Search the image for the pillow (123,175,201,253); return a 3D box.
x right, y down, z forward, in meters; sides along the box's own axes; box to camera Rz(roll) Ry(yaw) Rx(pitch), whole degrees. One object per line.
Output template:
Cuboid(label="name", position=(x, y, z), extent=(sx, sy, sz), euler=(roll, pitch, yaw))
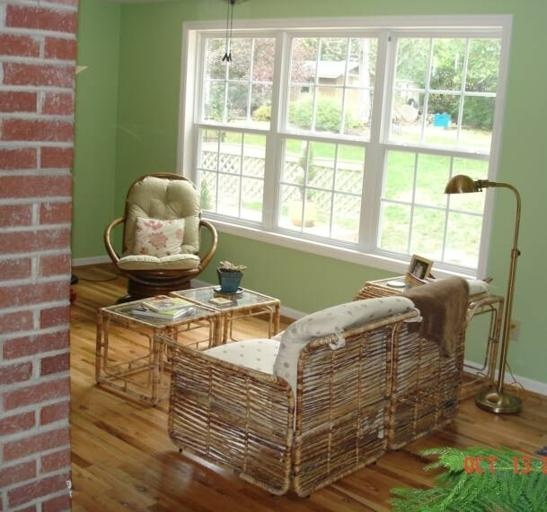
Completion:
Cuboid(label="pillow", position=(-1.017, -0.372, 4.877), extent=(0.828, 0.640, 0.250), euler=(1, -5, -6))

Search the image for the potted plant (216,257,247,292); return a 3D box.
Cuboid(label="potted plant", position=(-0.307, 0.140, 3.653), extent=(0.170, 0.216, 0.196), euler=(5, 14, 0))

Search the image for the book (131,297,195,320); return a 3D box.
Cuboid(label="book", position=(-0.648, 0.321, 3.164), extent=(0.190, 0.031, 0.191), euler=(8, 11, 36))

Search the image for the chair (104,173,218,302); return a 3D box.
Cuboid(label="chair", position=(-1.002, -0.238, 4.803), extent=(1.403, 1.170, 1.151), euler=(1, 5, -4))

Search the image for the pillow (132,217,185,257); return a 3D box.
Cuboid(label="pillow", position=(-1.005, -0.150, 4.610), extent=(0.519, 0.369, 0.168), euler=(7, 10, 19))

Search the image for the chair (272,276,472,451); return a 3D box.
Cuboid(label="chair", position=(0.416, 0.554, 2.800), extent=(0.820, 0.783, 1.026), euler=(8, 11, 40))

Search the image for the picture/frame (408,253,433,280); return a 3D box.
Cuboid(label="picture/frame", position=(0.992, 0.076, 3.471), extent=(0.021, 0.184, 0.199), euler=(31, -11, -37))

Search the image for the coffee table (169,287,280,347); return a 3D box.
Cuboid(label="coffee table", position=(-0.363, 0.469, 3.664), extent=(0.632, 0.361, 0.612), euler=(-10, 16, -40))

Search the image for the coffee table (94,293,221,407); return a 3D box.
Cuboid(label="coffee table", position=(-0.700, 0.553, 3.251), extent=(0.614, 0.362, 0.532), euler=(-16, -17, 7))

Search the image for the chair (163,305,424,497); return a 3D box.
Cuboid(label="chair", position=(0.127, 0.610, 2.573), extent=(1.090, 0.548, 0.846), euler=(0, 4, -41))
